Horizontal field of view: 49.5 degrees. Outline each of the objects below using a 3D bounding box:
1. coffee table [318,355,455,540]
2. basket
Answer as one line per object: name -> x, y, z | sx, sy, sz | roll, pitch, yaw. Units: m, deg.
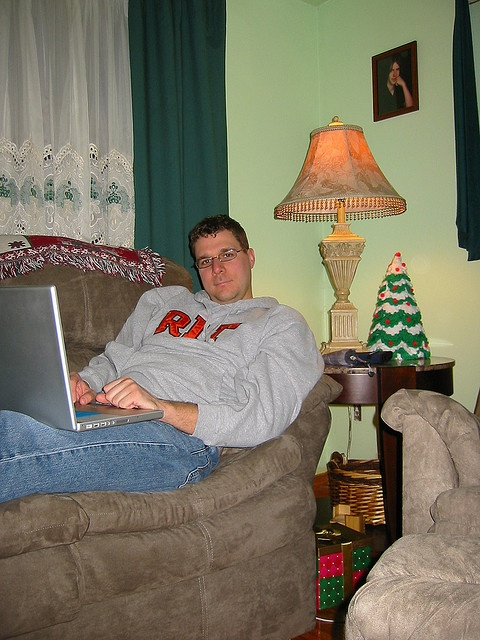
coffee table -> 0.494, 0.404, 1.958 | 0.489, 0.608, 0.536 | 1, 2, 35
basket -> 0.438, 0.626, 2.012 | 0.242, 0.227, 0.253 | 2, -9, -22
